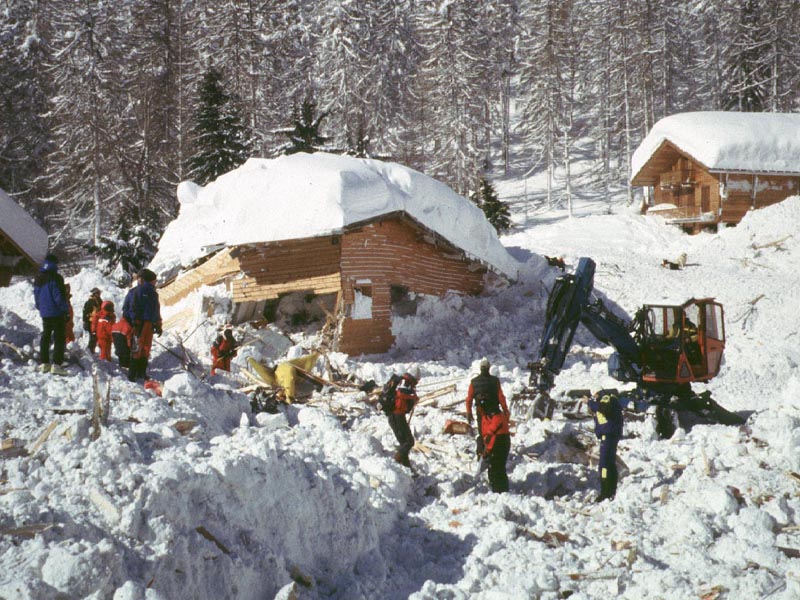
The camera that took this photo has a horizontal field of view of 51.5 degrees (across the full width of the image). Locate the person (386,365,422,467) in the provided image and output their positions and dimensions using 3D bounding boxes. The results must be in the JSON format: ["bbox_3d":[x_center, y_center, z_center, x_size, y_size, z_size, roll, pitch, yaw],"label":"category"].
[{"bbox_3d":[0.032,3.172,21.871,0.688,2.406,0.796,4,9,39],"label":"person"}]

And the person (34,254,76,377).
[{"bbox_3d":[-8.983,0.291,21.370,0.986,2.840,0.869,3,8,34],"label":"person"}]

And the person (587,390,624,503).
[{"bbox_3d":[5.082,3.576,20.710,0.709,2.727,0.813,2,18,7],"label":"person"}]

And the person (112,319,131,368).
[{"bbox_3d":[-7.904,1.199,23.560,0.554,1.560,0.424,5,28,-4],"label":"person"}]

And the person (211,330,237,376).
[{"bbox_3d":[-5.526,1.517,26.045,0.723,1.711,0.552,-2,45,-22],"label":"person"}]

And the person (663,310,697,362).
[{"bbox_3d":[8.161,0.852,23.582,0.658,1.366,1.078,-13,-5,-37],"label":"person"}]

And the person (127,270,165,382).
[{"bbox_3d":[-7.089,0.671,22.787,0.969,3.041,0.666,-5,7,-24],"label":"person"}]

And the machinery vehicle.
[{"bbox_3d":[6.937,1.310,23.677,6.073,4.424,3.654,-1,8,-2],"label":"machinery vehicle"}]
